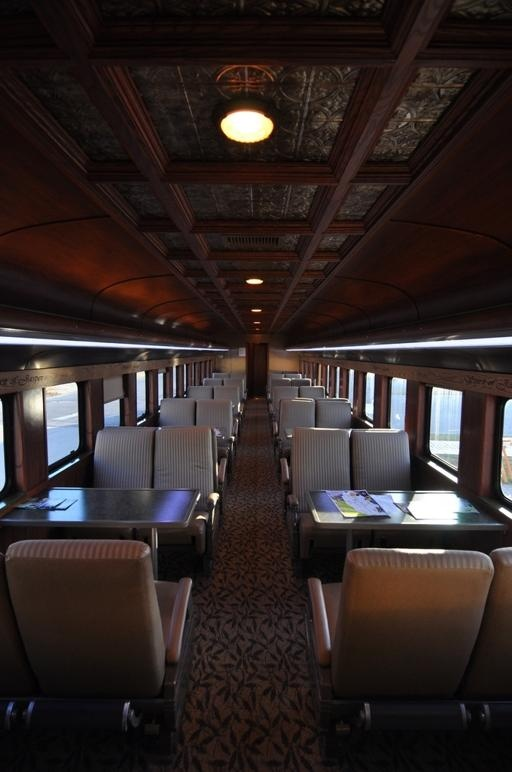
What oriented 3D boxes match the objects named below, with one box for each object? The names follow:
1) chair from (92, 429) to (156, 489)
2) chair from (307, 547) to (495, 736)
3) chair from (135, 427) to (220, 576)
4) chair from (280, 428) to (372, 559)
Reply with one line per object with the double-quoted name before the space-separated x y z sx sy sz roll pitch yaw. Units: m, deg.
"chair" -1.252 0.727 5.105 0.567 0.550 0.414 2 -14 -8
"chair" 0.649 1.147 2.659 0.710 1.012 1.184 0 3 1
"chair" -0.697 0.972 4.696 0.919 1.059 0.974 -3 10 -26
"chair" 0.644 0.948 4.684 0.756 1.011 1.067 -1 9 -4
